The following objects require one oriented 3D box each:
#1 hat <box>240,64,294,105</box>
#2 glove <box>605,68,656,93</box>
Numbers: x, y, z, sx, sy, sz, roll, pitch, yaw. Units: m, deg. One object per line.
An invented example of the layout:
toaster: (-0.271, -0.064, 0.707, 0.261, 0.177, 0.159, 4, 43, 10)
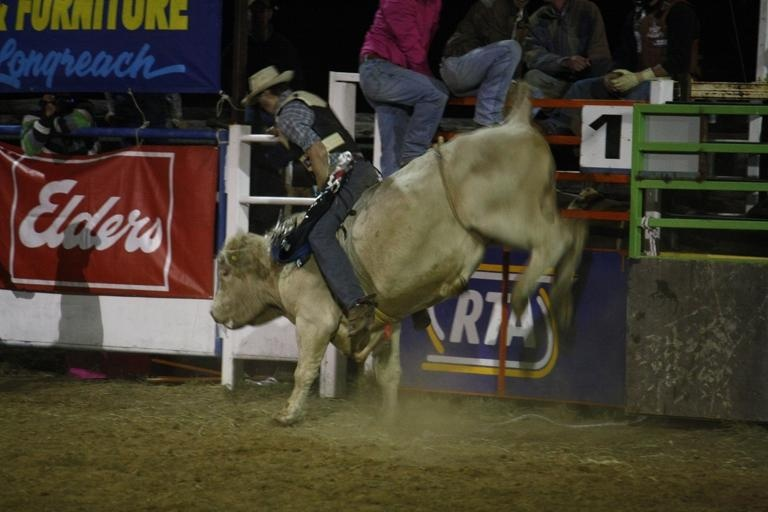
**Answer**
hat: (-1.086, -1.578, 8.427, 0.417, 0.157, 0.378, -31, -4, 18)
glove: (2.388, -1.707, 8.858, 0.402, 0.155, 0.259, -19, 33, -11)
